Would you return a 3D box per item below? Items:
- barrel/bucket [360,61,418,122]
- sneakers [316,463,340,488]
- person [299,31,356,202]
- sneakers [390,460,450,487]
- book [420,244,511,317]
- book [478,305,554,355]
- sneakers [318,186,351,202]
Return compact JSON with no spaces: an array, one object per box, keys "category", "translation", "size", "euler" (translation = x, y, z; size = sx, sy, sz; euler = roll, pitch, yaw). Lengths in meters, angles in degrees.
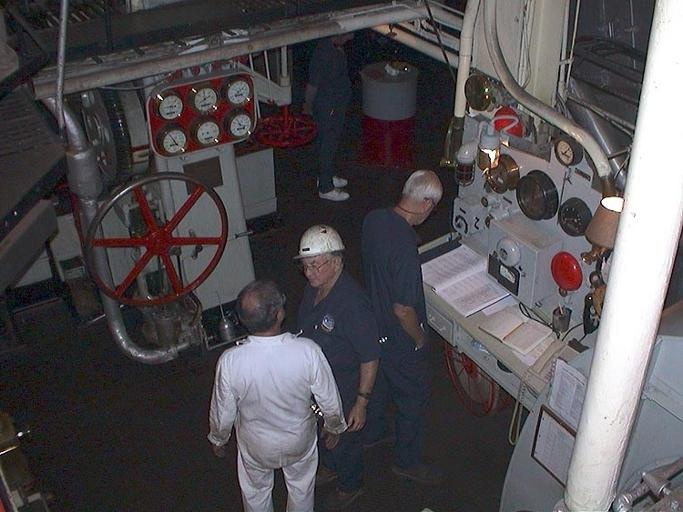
[{"category":"barrel/bucket","translation":[0.784,-2.943,8.932],"size":[0.928,0.965,0.965],"euler":[0,41,0]},{"category":"sneakers","translation":[-0.092,1.736,4.115],"size":[0.231,0.111,0.089],"euler":[-13,30,-21]},{"category":"person","translation":[-0.169,-1.843,6.941],"size":[0.605,2.142,1.426],"euler":[-7,24,-6]},{"category":"sneakers","translation":[0.641,1.701,4.049],"size":[0.394,0.182,0.173],"euler":[4,36,10]},{"category":"book","translation":[0.948,0.178,4.102],"size":[0.441,0.070,0.615],"euler":[-26,44,-17]},{"category":"book","translation":[1.253,0.539,3.694],"size":[0.272,0.059,0.371],"euler":[-29,49,-26]},{"category":"sneakers","translation":[-0.122,-0.848,7.156],"size":[0.362,0.152,0.195],"euler":[-1,36,1]}]
